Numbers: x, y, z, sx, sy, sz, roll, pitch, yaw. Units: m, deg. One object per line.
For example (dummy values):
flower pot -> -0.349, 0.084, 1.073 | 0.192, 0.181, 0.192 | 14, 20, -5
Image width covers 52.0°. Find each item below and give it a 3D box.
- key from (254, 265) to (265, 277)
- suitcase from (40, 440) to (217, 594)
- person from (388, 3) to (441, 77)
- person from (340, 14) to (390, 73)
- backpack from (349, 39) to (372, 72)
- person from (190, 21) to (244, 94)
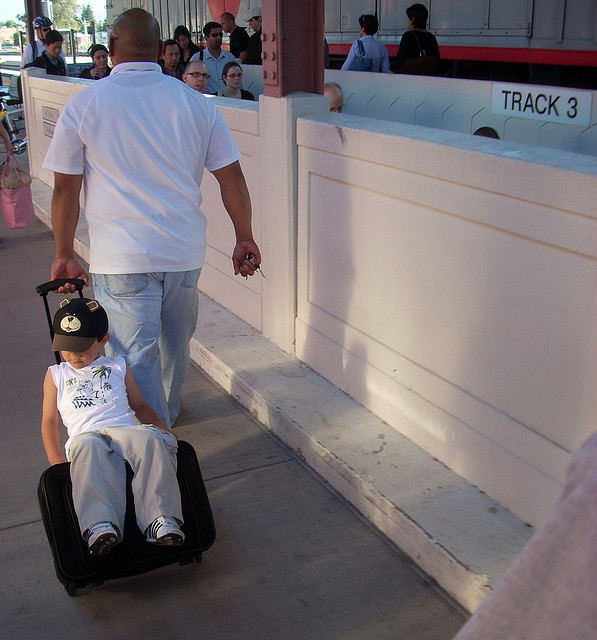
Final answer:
key -> -0.202, -0.252, 3.130 | 0.022, 0.075, 0.022 | -34, 4, -11
suitcase -> -0.624, 0.713, 2.185 | 0.476, 0.242, 0.436 | -12, 64, -21
person -> 1.478, -3.460, 7.591 | 0.563, 0.802, 0.298 | 2, 22, 8
person -> 0.869, -3.577, 7.927 | 0.572, 0.701, 0.626 | 7, 23, 19
backpack -> 0.795, -3.393, 7.871 | 0.314, 0.363, 0.193 | 8, 23, 21
person -> -1.230, -3.731, 9.199 | 0.384, 0.511, 1.144 | 7, -23, -1
